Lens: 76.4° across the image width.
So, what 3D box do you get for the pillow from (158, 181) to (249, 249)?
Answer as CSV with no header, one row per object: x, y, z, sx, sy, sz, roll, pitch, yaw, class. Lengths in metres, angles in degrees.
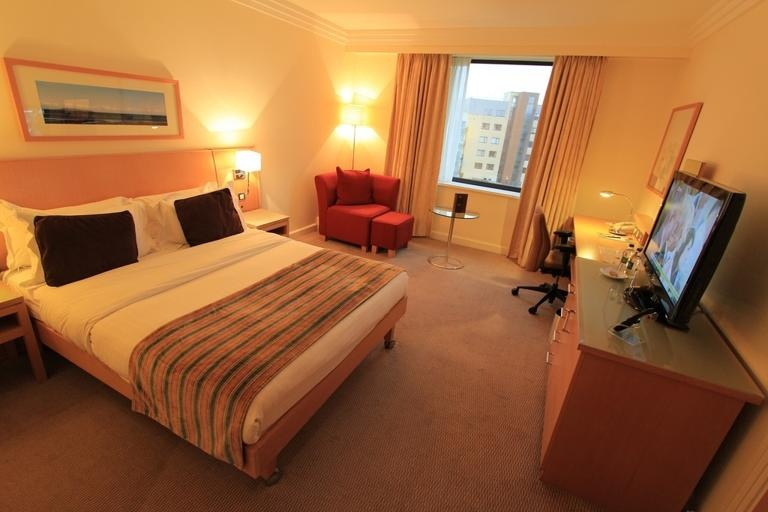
-1.841,-0.392,4.934,0.705,0.594,0.210,-21,1,-42,pillow

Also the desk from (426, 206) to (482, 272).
0.873,-0.339,6.652,0.562,0.784,0.984,1,20,-6,desk

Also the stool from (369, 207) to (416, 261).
0.116,-0.315,6.797,0.417,0.497,0.586,13,24,22,stool

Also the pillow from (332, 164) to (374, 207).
-0.410,-0.983,7.004,0.561,0.550,0.212,-5,11,-27,pillow

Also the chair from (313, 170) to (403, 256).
-0.239,-0.638,6.997,1.274,0.963,0.934,14,22,20,chair

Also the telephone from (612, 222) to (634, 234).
2.753,-0.341,5.627,0.156,0.065,0.207,-8,14,-26,telephone

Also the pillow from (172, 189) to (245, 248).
-1.779,-0.380,4.952,0.203,0.537,0.682,-10,14,44,pillow

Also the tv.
2.398,-0.013,3.847,0.434,1.136,1.107,14,25,12,tv

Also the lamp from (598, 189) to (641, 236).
2.894,-0.525,5.952,0.466,0.609,0.332,2,36,21,lamp

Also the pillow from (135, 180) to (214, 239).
-1.866,-0.477,4.948,0.817,0.177,0.818,-16,-4,1,pillow

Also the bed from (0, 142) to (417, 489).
-1.591,0.249,4.503,2.934,2.019,2.352,15,23,29,bed

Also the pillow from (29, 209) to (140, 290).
-2.589,-0.116,4.327,0.281,0.585,0.786,-16,1,38,pillow

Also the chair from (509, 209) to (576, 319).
1.988,0.049,5.570,0.724,1.069,0.823,5,14,5,chair
